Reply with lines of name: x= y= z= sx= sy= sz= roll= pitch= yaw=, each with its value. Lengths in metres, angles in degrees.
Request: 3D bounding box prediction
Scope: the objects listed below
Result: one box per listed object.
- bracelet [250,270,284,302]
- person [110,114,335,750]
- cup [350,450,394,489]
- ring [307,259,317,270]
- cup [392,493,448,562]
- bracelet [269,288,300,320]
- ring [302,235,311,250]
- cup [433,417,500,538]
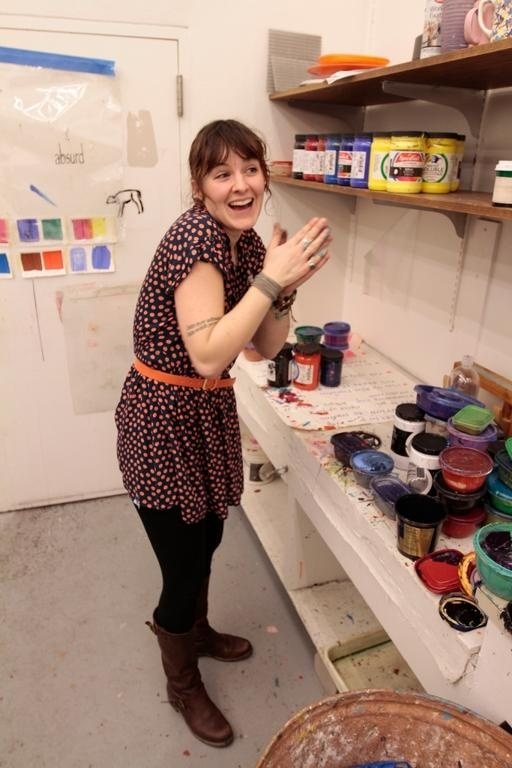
bracelet: x=0.020 y=-0.168 z=0.970 sx=0.049 sy=0.035 sz=0.048 roll=34 pitch=12 yaw=-31
person: x=-0.082 y=0.207 z=1.315 sx=0.404 sy=1.491 sz=0.425 roll=-20 pitch=30 yaw=-39
cup: x=0.267 y=0.186 z=1.305 sx=0.083 sy=0.051 sz=0.083 roll=0 pitch=33 yaw=0
ring: x=0.108 y=-0.226 z=1.072 sx=0.015 sy=0.014 sz=0.026 roll=15 pitch=22 yaw=4
cup: x=0.297 y=0.260 z=1.098 sx=0.101 sy=0.102 sz=0.113 roll=-5 pitch=38 yaw=-5
bracelet: x=0.061 y=-0.178 z=1.239 sx=0.046 sy=0.056 sz=0.060 roll=4 pitch=36 yaw=-2
ring: x=0.090 y=-0.251 z=1.005 sx=0.013 sy=0.018 sz=0.005 roll=15 pitch=-5 yaw=16
cup: x=0.417 y=0.184 z=1.148 sx=0.104 sy=0.089 sz=0.247 roll=4 pitch=26 yaw=10
